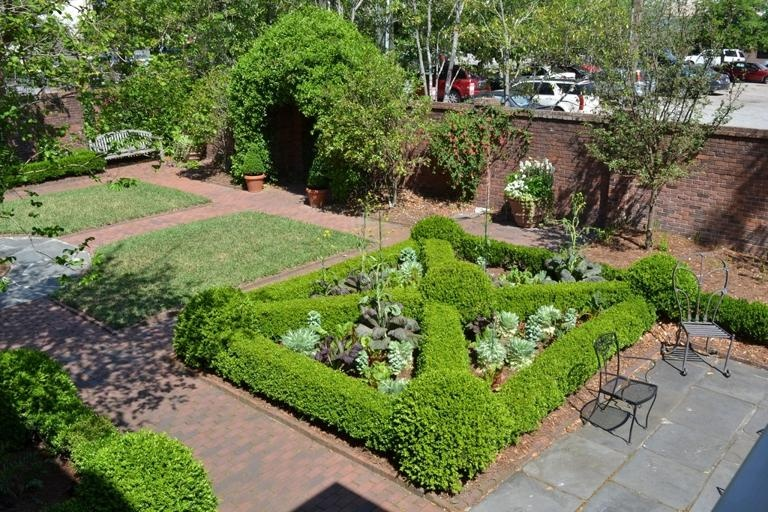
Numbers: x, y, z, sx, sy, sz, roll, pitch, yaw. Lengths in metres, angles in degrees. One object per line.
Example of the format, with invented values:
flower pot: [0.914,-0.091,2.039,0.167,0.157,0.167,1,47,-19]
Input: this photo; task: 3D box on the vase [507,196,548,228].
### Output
vase: [4.239,-1.336,16.494,0.916,0.666,0.918,-5,20,-13]

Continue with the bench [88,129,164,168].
bench: [-10.465,-4.274,22.204,2.859,1.413,0.926,-10,12,-21]

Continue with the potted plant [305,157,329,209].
potted plant: [-2.196,-2.468,18.511,0.740,1.575,0.711,-3,25,-7]

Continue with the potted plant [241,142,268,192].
potted plant: [-4.648,-3.193,20.250,0.892,1.615,0.843,-11,27,-24]
